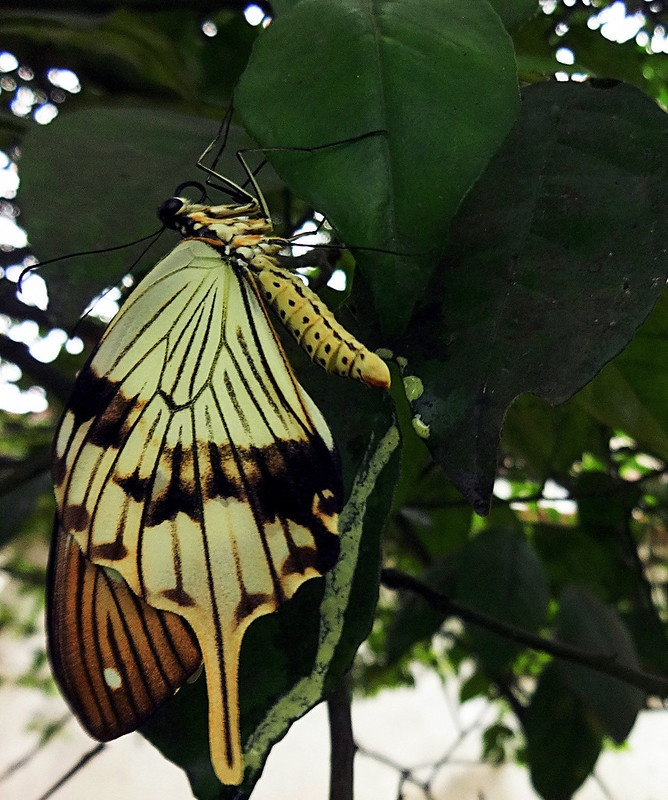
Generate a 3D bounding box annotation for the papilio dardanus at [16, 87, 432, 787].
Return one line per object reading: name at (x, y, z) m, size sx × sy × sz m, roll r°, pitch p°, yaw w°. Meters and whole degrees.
papilio dardanus at (-0.116, 0.016, 0.885) m, size 0.206 × 0.473 × 0.355 m, roll 16°, pitch 5°, yaw -19°
